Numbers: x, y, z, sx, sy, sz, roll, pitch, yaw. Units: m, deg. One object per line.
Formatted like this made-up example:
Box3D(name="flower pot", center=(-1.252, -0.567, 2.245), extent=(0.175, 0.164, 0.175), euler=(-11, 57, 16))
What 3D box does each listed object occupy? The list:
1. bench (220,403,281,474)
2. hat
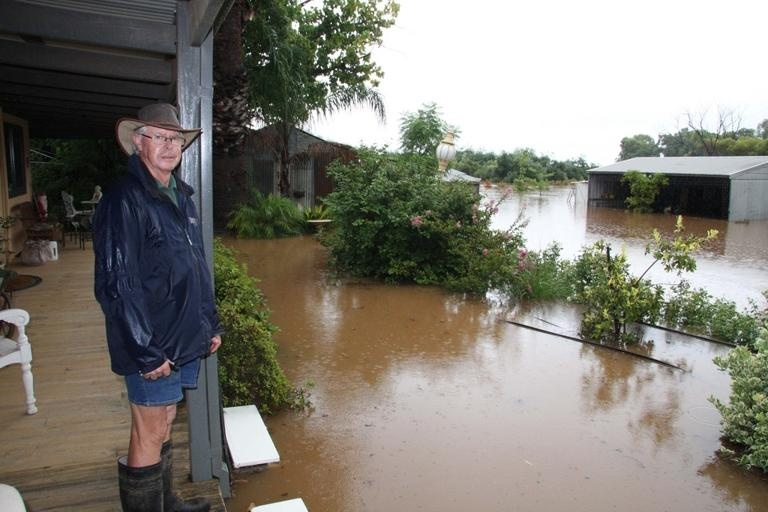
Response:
Box3D(name="bench", center=(-1.408, 1.959, 5.866), extent=(0.479, 0.226, 0.965), euler=(-1, 32, -22))
Box3D(name="hat", center=(-1.888, -1.110, 4.619), extent=(0.606, 0.306, 0.713), euler=(-15, -7, -13))
